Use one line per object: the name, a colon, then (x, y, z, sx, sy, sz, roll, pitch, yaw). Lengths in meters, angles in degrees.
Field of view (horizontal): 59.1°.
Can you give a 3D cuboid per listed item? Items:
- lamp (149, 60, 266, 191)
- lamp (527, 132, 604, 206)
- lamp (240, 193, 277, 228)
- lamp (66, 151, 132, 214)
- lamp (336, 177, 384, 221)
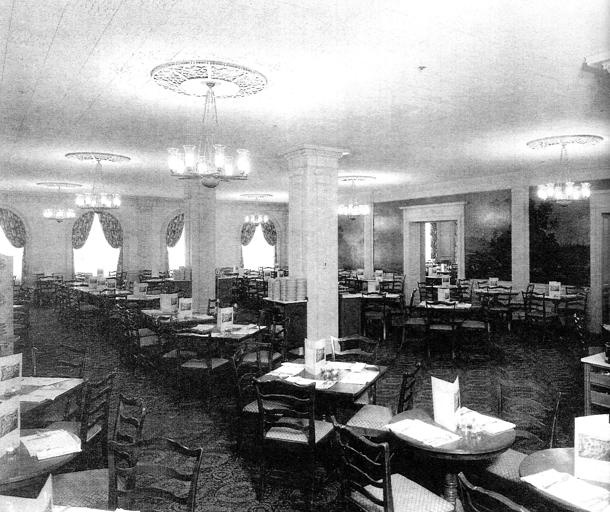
lamp: (-1.257, -1.595, 6.795, 1.438, 1.224, 1.375, 3, 0, 34)
lamp: (4.470, -1.447, 9.161, 1.089, 1.079, 1.058, 6, 12, 37)
lamp: (-1.772, -1.712, 20.385, 1.059, 0.865, 1.049, -6, 9, -42)
lamp: (-4.441, -1.590, 11.443, 1.509, 1.284, 1.515, 6, 8, 21)
lamp: (1.349, -1.578, 14.908, 1.083, 1.014, 1.149, 3, 1, 21)
